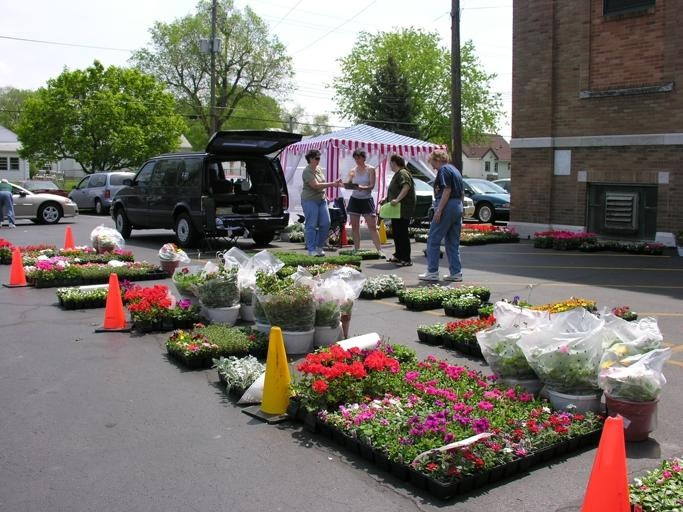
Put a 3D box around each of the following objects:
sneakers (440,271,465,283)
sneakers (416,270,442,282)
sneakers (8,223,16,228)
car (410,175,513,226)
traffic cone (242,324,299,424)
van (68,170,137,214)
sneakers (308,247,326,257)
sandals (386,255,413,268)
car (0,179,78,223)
[{"bbox_3d":[2.044,0.396,10.445,0.396,0.177,0.146,3,2,-4],"label":"sneakers"},{"bbox_3d":[1.587,0.348,10.306,0.436,0.199,0.160,4,7,19],"label":"sneakers"},{"bbox_3d":[-12.110,-1.114,21.047,0.148,0.125,0.369,-1,3,8],"label":"sneakers"},{"bbox_3d":[5.885,-2.264,23.509,4.412,1.493,1.869,0,4,32],"label":"car"},{"bbox_3d":[-0.625,0.992,4.954,0.348,0.784,0.396,-8,12,-43],"label":"traffic cone"},{"bbox_3d":[-11.738,-3.212,28.999,2.765,2.225,5.029,-7,13,-42],"label":"van"},{"bbox_3d":[-0.515,-0.081,12.788,0.157,0.216,0.508,-3,-3,-40],"label":"sneakers"},{"bbox_3d":[1.257,0.107,12.356,0.588,0.211,0.198,10,12,38],"label":"sandals"},{"bbox_3d":[-12.131,-2.048,23.092,2.841,1.086,1.268,-5,9,-21],"label":"car"}]
